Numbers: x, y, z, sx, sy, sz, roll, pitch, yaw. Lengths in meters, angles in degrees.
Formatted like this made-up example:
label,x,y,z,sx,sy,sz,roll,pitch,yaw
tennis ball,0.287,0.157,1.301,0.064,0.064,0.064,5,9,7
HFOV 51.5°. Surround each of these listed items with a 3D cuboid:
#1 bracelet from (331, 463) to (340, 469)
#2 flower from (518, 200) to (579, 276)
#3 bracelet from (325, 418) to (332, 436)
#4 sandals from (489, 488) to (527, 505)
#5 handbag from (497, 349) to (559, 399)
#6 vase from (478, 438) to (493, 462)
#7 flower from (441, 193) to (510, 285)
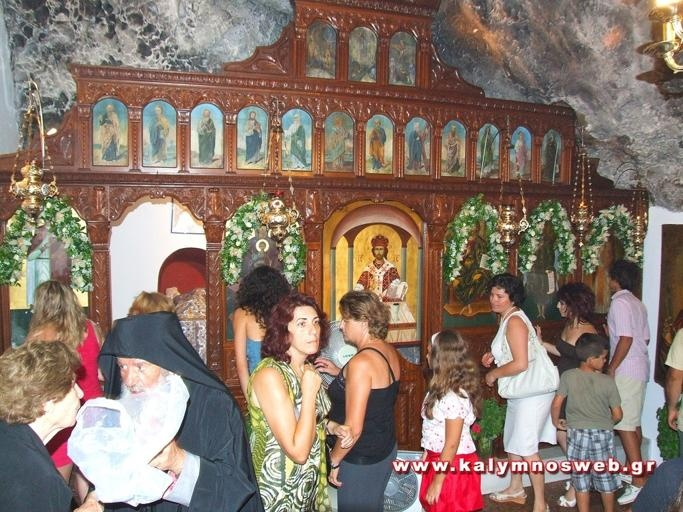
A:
label,x,y,z,sx,sy,sz,roll,pitch,yaw
bracelet,-0.056,1.881,6.329,0.052,0.019,0.055,33,-45,-19
flower,2.858,-0.267,9.810,0.912,1.021,0.229,2,-6,-21
bracelet,-0.119,1.503,6.204,0.051,0.170,0.114,-5,15,-5
sandals,1.872,2.678,7.967,0.275,0.128,0.166,2,-3,14
handbag,2.029,1.212,7.580,0.564,0.611,0.272,-10,18,-25
vase,1.789,2.418,8.876,0.201,0.389,0.214,1,5,8
flower,1.734,-0.257,9.594,0.777,1.230,0.340,-2,1,-9
